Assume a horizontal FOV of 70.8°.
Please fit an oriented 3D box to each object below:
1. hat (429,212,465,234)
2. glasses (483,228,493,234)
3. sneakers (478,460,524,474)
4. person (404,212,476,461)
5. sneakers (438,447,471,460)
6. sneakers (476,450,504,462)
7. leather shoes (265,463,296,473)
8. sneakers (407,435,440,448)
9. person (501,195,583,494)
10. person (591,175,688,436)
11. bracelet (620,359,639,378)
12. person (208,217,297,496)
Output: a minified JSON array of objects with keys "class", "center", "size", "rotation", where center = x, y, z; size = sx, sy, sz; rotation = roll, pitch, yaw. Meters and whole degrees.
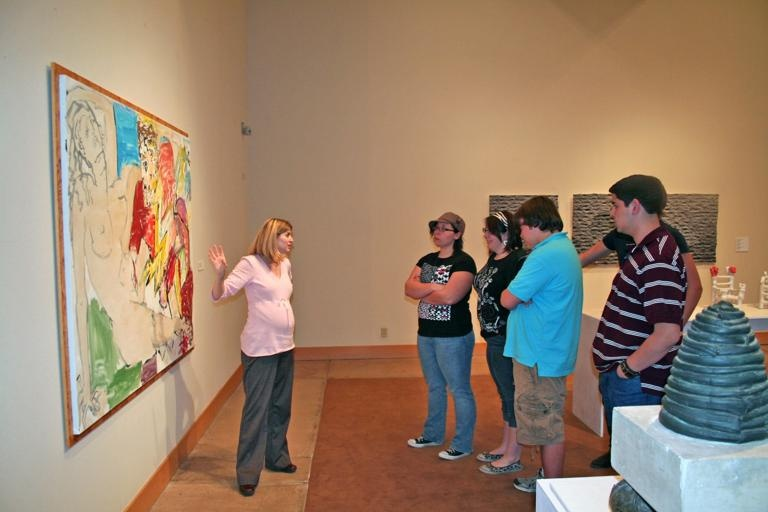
[{"class":"hat","center":[0.530,-0.271,4.370],"size":[0.253,0.125,0.185],"rotation":[27,-3,-12]},{"class":"glasses","center":[0.803,-0.205,4.156],"size":[0.055,0.025,0.044],"rotation":[21,-8,12]},{"class":"sneakers","center":[0.915,1.674,4.270],"size":[0.299,0.090,0.120],"rotation":[2,-6,-4]},{"class":"person","center":[0.494,0.653,4.475],"size":[0.598,2.026,0.389],"rotation":[7,12,39]},{"class":"sneakers","center":[0.587,1.632,4.471],"size":[0.267,0.107,0.100],"rotation":[2,-6,-5]},{"class":"sneakers","center":[0.855,1.630,4.373],"size":[0.205,0.057,0.083],"rotation":[3,-3,-10]},{"class":"leather shoes","center":[-0.820,1.697,4.297],"size":[0.229,0.098,0.085],"rotation":[1,-2,-1]},{"class":"sneakers","center":[0.341,1.603,4.707],"size":[0.260,0.104,0.105],"rotation":[3,-6,4]},{"class":"person","center":[1.084,0.559,3.739],"size":[0.505,1.929,0.414],"rotation":[3,10,20]},{"class":"person","center":[1.612,0.366,3.409],"size":[0.550,1.739,0.424],"rotation":[7,12,43]},{"class":"bracelet","center":[1.506,0.690,3.310],"size":[0.064,0.100,0.100],"rotation":[-35,0,9]},{"class":"person","center":[-0.935,0.732,4.161],"size":[0.345,2.021,0.683],"rotation":[7,12,40]}]
